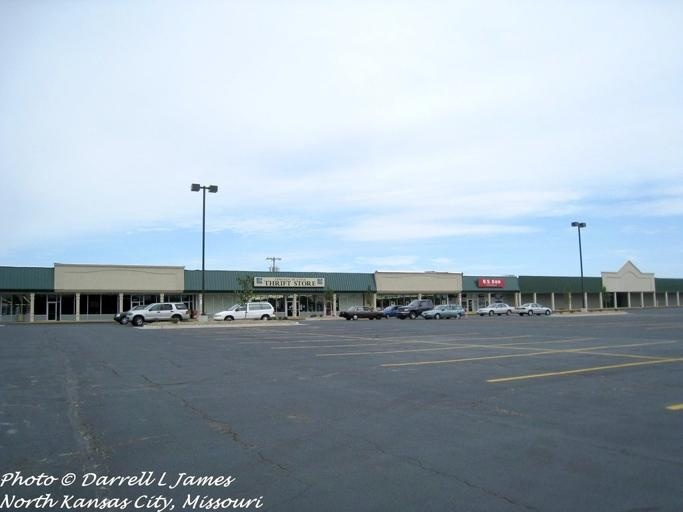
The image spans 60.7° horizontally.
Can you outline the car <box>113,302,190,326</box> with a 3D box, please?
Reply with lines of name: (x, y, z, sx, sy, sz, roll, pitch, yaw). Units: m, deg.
car: (-14.670, 4.461, 44.930, 5.415, 1.630, 2.962, -5, -7, 10)
